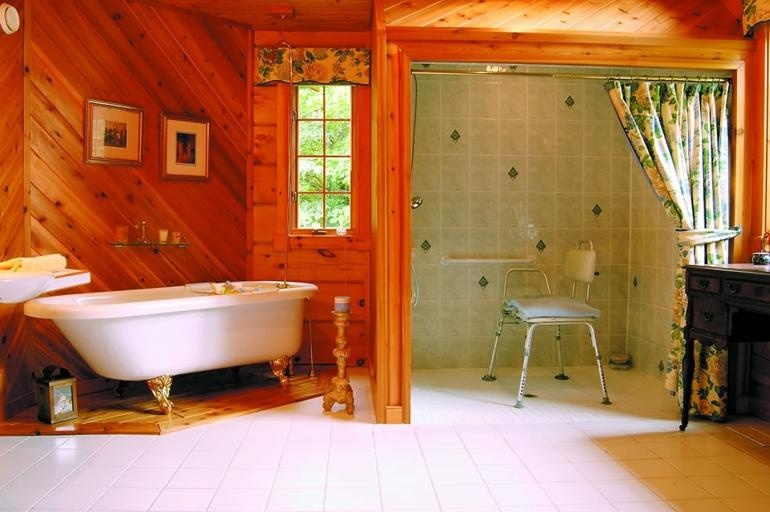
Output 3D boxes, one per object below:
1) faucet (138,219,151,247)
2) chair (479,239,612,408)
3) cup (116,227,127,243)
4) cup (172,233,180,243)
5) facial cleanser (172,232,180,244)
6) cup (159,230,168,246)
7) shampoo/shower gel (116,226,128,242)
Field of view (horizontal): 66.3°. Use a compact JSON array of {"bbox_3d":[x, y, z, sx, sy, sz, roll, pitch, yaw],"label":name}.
[{"bbox_3d":[-2.077,-0.189,5.035,0.085,0.190,0.236,-6,15,-23],"label":"faucet"},{"bbox_3d":[1.372,0.529,5.084,1.084,1.297,1.139,-4,5,-39],"label":"chair"},{"bbox_3d":[-2.221,-0.186,4.934,0.114,0.125,0.163,-6,15,-24],"label":"cup"},{"bbox_3d":[-1.834,-0.152,5.127,0.068,0.092,0.114,-5,15,-20],"label":"cup"},{"bbox_3d":[-1.831,-0.151,5.126,0.085,0.130,0.083,2,-11,-17],"label":"facial cleanser"},{"bbox_3d":[-1.917,-0.159,5.051,0.070,0.113,0.107,-5,15,-21],"label":"cup"},{"bbox_3d":[-2.214,-0.180,4.952,0.125,0.132,0.122,0,7,-17],"label":"shampoo/shower gel"}]
